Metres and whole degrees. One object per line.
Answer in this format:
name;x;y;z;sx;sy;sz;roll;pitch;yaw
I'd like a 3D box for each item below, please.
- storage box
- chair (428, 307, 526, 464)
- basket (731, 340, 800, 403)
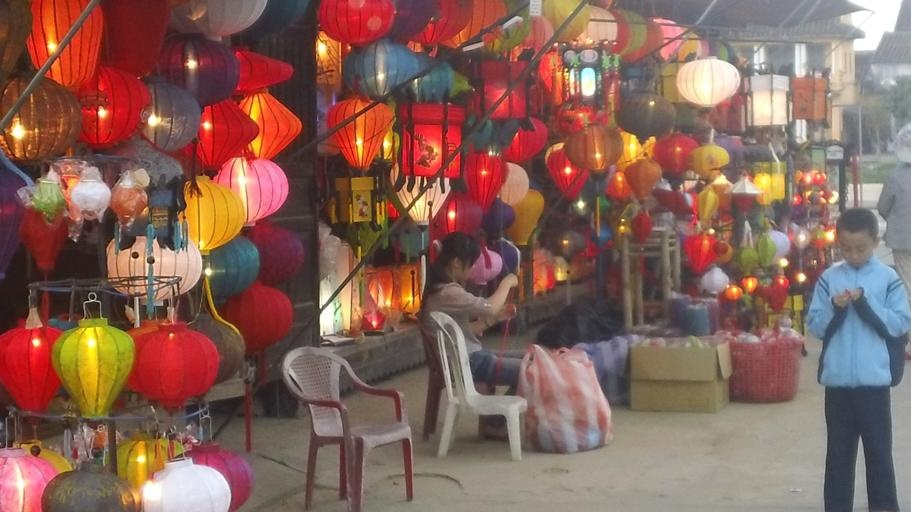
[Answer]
storage box;2.314;1.257;10.922;0.790;0.514;0.815;0;1;11
chair;0.228;1.183;9.831;0.954;1.277;0.844;3;-2;-14
basket;3.185;1.145;10.808;0.644;0.506;0.671;-1;-3;11
